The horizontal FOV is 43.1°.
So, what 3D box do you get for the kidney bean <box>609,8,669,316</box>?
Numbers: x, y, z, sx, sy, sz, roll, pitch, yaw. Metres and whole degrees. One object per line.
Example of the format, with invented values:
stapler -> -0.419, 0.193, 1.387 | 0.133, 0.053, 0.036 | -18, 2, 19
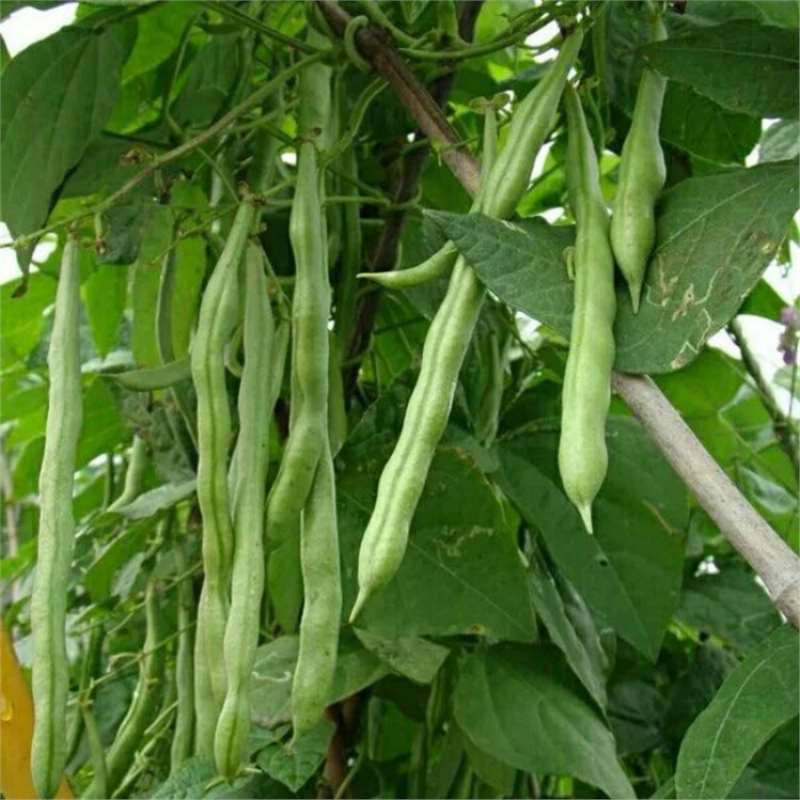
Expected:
kidney bean -> 0.152, -0.140, 0.592 | 0.027, 0.240, 0.032 | 24, -32, -21
